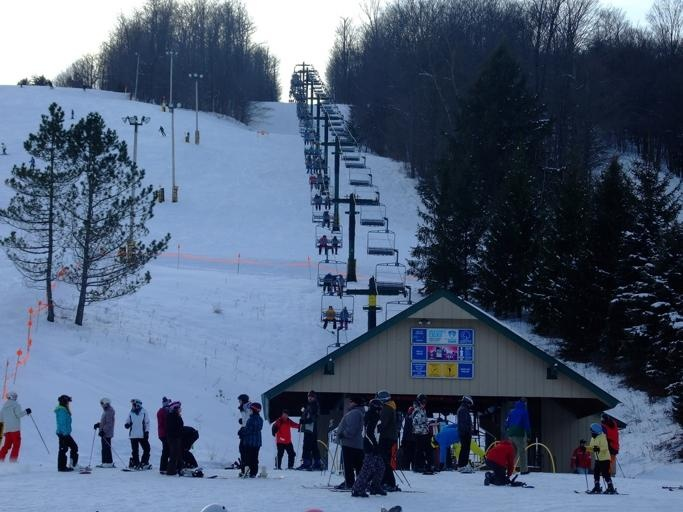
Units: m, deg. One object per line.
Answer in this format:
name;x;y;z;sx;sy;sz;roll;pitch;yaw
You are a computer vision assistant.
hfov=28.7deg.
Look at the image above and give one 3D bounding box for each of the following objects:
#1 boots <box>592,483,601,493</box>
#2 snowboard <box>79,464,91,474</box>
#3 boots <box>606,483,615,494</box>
boots;11.722;10.458;61.003;0.315;0.710;0.355;6;-22;-8
snowboard;-12.037;9.921;63.007;0.564;0.342;0.853;3;-9;-13
boots;12.331;10.429;60.914;0.268;0.468;0.259;0;-45;26
